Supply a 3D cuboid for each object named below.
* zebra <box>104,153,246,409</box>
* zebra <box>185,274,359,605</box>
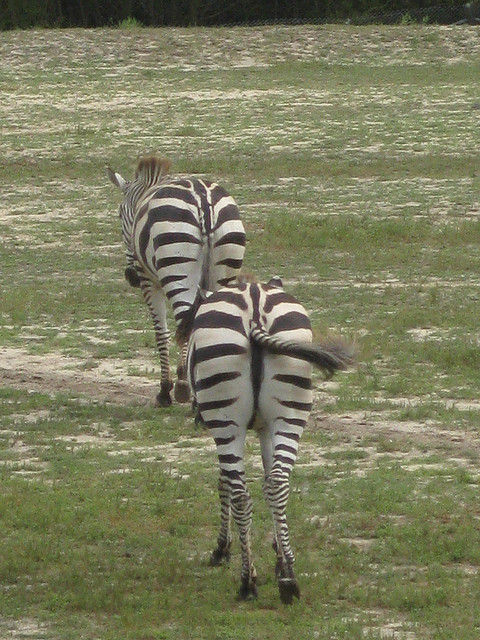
[{"bbox_3d":[-0.912,-0.552,21.916,1.029,3.695,4.165,-4,1,-16],"label":"zebra"},{"bbox_3d":[0.290,1.317,17.311,1.612,2.897,1.590,-3,21,-3],"label":"zebra"}]
